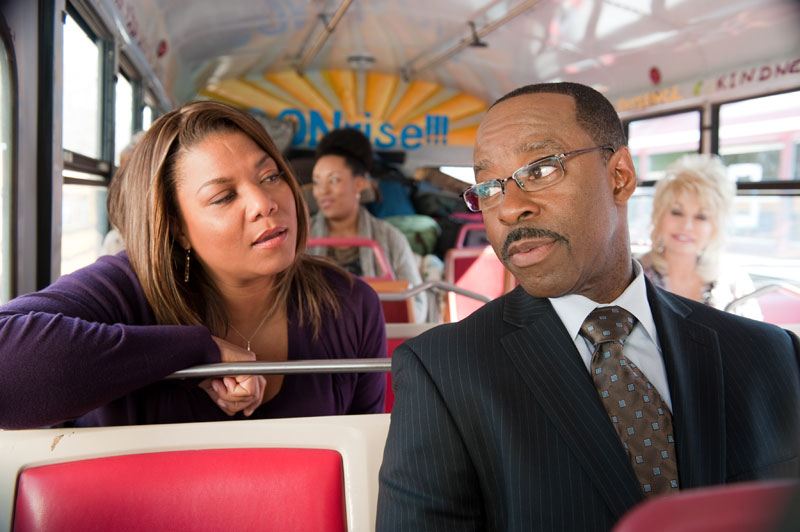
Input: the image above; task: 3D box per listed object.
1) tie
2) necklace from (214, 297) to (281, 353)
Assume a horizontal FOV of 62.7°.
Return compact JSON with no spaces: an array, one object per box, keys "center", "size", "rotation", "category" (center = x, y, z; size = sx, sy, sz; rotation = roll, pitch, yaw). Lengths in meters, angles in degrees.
[{"center":[0.705,0.435,2.142],"size":[0.194,0.566,0.140],"rotation":[-17,-15,-4],"category":"tie"},{"center":[-0.622,0.233,2.654],"size":[0.234,0.227,0.064],"rotation":[26,-2,8],"category":"necklace"}]
